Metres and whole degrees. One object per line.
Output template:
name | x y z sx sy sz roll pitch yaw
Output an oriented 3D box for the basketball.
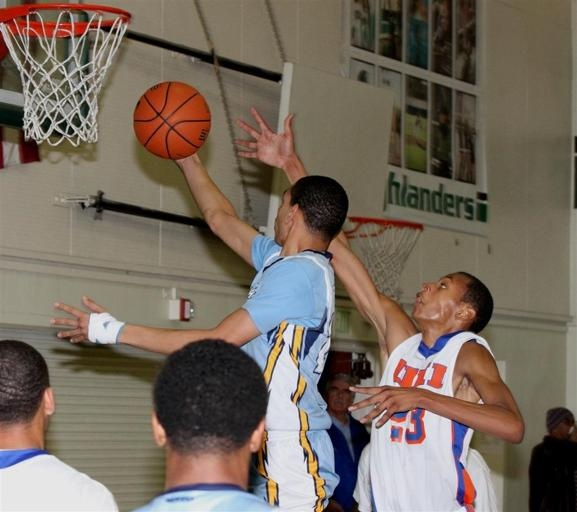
basketball | -0.659 -0.760 4.925 0.390 0.527 0.431 -1 3 33
